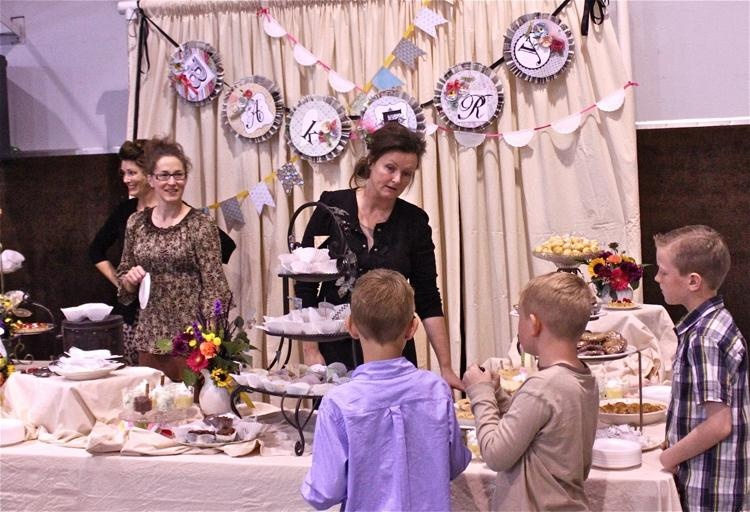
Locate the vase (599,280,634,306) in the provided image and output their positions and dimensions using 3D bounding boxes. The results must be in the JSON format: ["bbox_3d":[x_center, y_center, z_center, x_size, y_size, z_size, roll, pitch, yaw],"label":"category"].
[{"bbox_3d":[1.324,0.201,4.051,0.118,0.097,0.135,0,-9,0],"label":"vase"}]

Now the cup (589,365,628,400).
[{"bbox_3d":[1.132,0.602,3.569,0.213,0.099,0.295,-1,-3,2],"label":"cup"}]

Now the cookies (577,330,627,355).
[{"bbox_3d":[0.962,0.377,3.167,0.133,0.045,0.119,-1,0,-32],"label":"cookies"}]

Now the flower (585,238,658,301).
[{"bbox_3d":[1.384,0.071,4.174,0.325,0.328,0.332,-1,2,8],"label":"flower"}]
